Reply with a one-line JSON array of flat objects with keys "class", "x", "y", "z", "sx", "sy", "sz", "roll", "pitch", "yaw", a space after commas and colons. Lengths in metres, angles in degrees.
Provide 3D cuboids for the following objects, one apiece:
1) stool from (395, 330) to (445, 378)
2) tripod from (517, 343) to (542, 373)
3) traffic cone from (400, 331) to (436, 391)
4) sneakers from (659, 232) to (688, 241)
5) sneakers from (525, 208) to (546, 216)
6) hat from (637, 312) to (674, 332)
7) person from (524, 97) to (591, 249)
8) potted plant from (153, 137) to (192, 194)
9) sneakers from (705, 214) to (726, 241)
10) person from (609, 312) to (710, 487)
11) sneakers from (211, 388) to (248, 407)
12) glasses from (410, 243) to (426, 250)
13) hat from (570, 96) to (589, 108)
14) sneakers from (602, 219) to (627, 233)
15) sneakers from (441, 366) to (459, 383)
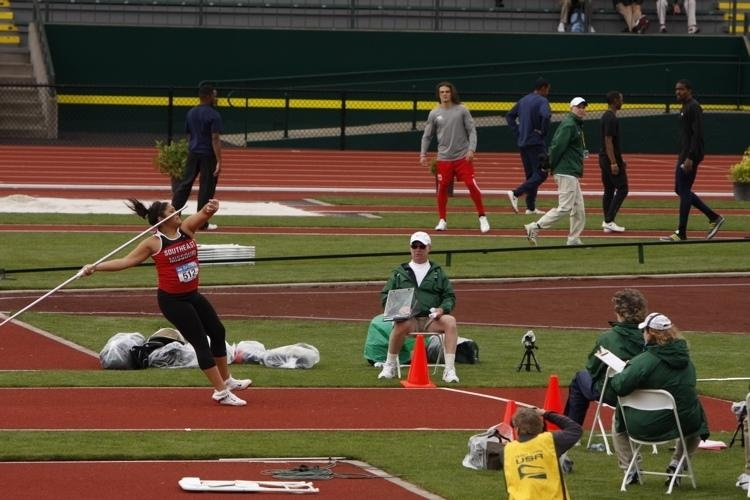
[{"class": "stool", "x": 0.783, "y": 1.688, "z": 24.636, "sx": 0.976, "sy": 0.686, "sz": 0.772, "roll": 1, "pitch": -5, "yaw": -7}, {"class": "tripod", "x": 2.634, "y": 1.726, "z": 24.487, "sx": 0.548, "sy": 0.521, "sz": 0.466, "roll": 2, "pitch": -4, "yaw": -1}, {"class": "traffic cone", "x": 0.691, "y": 1.740, "z": 24.037, "sx": 0.559, "sy": 0.827, "sz": 0.500, "roll": -1, "pitch": 14, "yaw": 0}, {"class": "sneakers", "x": 6.154, "y": -0.276, "z": 30.444, "sx": 0.664, "sy": 0.199, "sz": 0.202, "roll": 2, "pitch": -3, "yaw": 7}, {"class": "sneakers", "x": 3.662, "y": -0.878, "z": 33.734, "sx": 0.488, "sy": 0.152, "sz": 0.151, "roll": 0, "pitch": 10, "yaw": -25}, {"class": "hat", "x": 4.077, "y": 1.026, "z": 21.483, "sx": 0.373, "sy": 0.153, "sz": 0.276, "roll": 0, "pitch": -2, "yaw": 37}, {"class": "person", "x": 3.704, "y": -1.554, "z": 29.389, "sx": 1.062, "sy": 2.861, "sz": 1.181, "roll": 4, "pitch": 15, "yaw": 18}, {"class": "potted plant", "x": -4.689, "y": -1.851, "z": 34.508, "sx": 0.931, "sy": 0.873, "sz": 0.834, "roll": 1, "pitch": 1, "yaw": -35}, {"class": "sneakers", "x": 7.163, "y": -0.479, "z": 31.084, "sx": 0.282, "sy": 0.572, "sz": 0.202, "roll": 20, "pitch": 29, "yaw": -17}, {"class": "person", "x": 4.115, "y": 2.133, "z": 21.405, "sx": 1.374, "sy": 2.385, "sz": 0.834, "roll": 1, "pitch": 14, "yaw": 7}, {"class": "sneakers", "x": -2.335, "y": 2.285, "z": 23.231, "sx": 0.650, "sy": 0.208, "sz": 0.202, "roll": 3, "pitch": 8, "yaw": -1}, {"class": "glasses", "x": 0.699, "y": -0.089, "z": 24.368, "sx": 0.263, "sy": 0.121, "sz": 0.118, "roll": 3, "pitch": 14, "yaw": 18}, {"class": "hat", "x": 4.034, "y": -2.895, "z": 29.326, "sx": 0.233, "sy": 0.210, "sz": 0.405, "roll": -1, "pitch": 12, "yaw": -1}, {"class": "sneakers", "x": 5.159, "y": -0.495, "z": 31.747, "sx": 0.606, "sy": 0.214, "sz": 0.198, "roll": 1, "pitch": 4, "yaw": -19}, {"class": "sneakers", "x": 1.226, "y": 1.976, "z": 24.134, "sx": 0.266, "sy": 0.235, "sz": 0.266, "roll": -1, "pitch": 13, "yaw": 0}]
